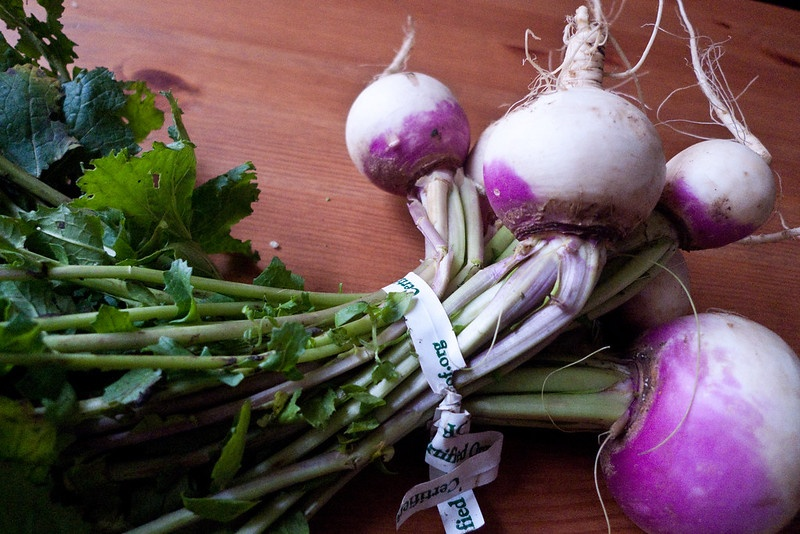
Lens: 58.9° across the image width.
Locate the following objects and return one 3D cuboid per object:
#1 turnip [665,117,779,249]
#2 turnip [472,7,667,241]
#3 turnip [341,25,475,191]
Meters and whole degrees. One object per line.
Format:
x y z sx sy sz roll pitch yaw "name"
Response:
0.621 -0.154 1.345 0.196 0.220 0.182 -5 -5 0 "turnip"
0.289 -0.196 1.440 0.397 0.499 0.385 3 -19 0 "turnip"
0.012 -0.284 1.463 0.238 0.240 0.344 3 1 -2 "turnip"
